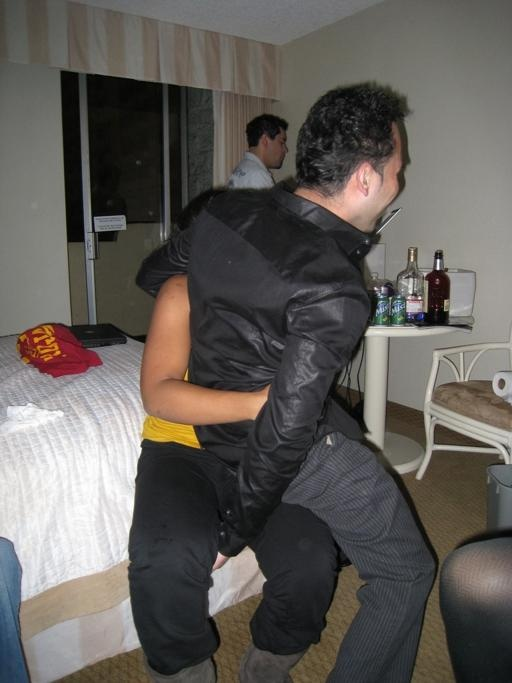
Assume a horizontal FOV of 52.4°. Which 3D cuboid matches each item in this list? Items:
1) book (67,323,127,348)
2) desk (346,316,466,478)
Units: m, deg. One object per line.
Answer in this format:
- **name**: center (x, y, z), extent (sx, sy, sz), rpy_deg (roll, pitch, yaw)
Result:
- **book**: center (-0.613, -0.022, 2.028), extent (0.142, 0.033, 0.140), rpy_deg (-1, 23, -28)
- **desk**: center (0.523, 0.206, 2.598), extent (0.680, 0.716, 0.660), rpy_deg (0, 19, 2)
